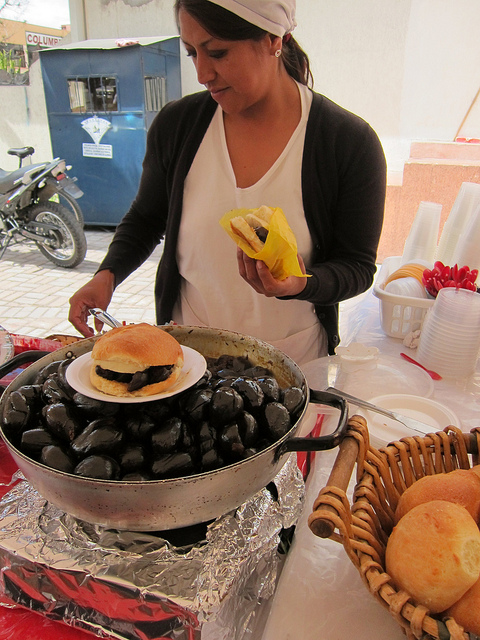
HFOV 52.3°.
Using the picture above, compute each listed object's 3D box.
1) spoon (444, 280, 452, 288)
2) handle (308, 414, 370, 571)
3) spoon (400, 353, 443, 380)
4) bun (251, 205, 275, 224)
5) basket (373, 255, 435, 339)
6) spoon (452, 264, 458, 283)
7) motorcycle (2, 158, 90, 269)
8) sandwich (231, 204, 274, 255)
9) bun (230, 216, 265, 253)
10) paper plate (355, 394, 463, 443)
[{"bbox_3d":[0.630,-0.111,1.513,0.025,0.022,0.024,12,2,5],"label":"spoon"},{"bbox_3d":[0.145,0.233,0.704,0.069,0.112,0.242,6,14,14],"label":"handle"},{"bbox_3d":[0.528,0.135,1.533,0.192,0.023,0.030,34,67,34],"label":"spoon"},{"bbox_3d":[0.052,-0.264,1.237,0.058,0.017,0.056,-24,53,17],"label":"bun"},{"bbox_3d":[0.558,-0.090,1.748,0.243,0.262,0.203,3,17,17],"label":"basket"},{"bbox_3d":[0.669,-0.147,1.549,0.016,0.040,0.057,9,16,23],"label":"spoon"},{"bbox_3d":[-2.073,-1.106,5.243,1.972,0.931,0.528,14,30,27],"label":"motorcycle"},{"bbox_3d":[0.022,-0.222,1.188,0.099,0.105,0.174,3,14,3],"label":"sandwich"},{"bbox_3d":[0.016,-0.204,1.205,0.030,0.063,0.101,19,32,-57],"label":"bun"},{"bbox_3d":[0.338,0.207,1.023,0.179,0.056,0.178,-7,14,-27],"label":"paper plate"}]
